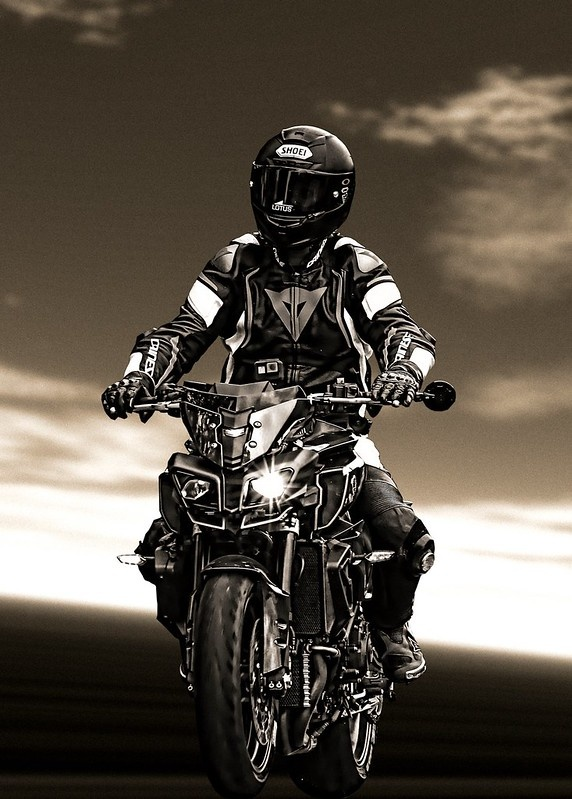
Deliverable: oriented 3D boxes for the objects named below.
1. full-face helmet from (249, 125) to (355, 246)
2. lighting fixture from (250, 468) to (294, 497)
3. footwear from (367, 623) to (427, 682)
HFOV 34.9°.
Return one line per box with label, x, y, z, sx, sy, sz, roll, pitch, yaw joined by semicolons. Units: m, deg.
full-face helmet;0.025;-0.980;4.059;0.526;0.545;0.445;9;-58;4
lighting fixture;-0.050;0.264;2.858;0.090;0.092;0.034;7;-36;7
footwear;0.545;1.114;4.030;0.202;0.192;0.502;-7;-6;22
